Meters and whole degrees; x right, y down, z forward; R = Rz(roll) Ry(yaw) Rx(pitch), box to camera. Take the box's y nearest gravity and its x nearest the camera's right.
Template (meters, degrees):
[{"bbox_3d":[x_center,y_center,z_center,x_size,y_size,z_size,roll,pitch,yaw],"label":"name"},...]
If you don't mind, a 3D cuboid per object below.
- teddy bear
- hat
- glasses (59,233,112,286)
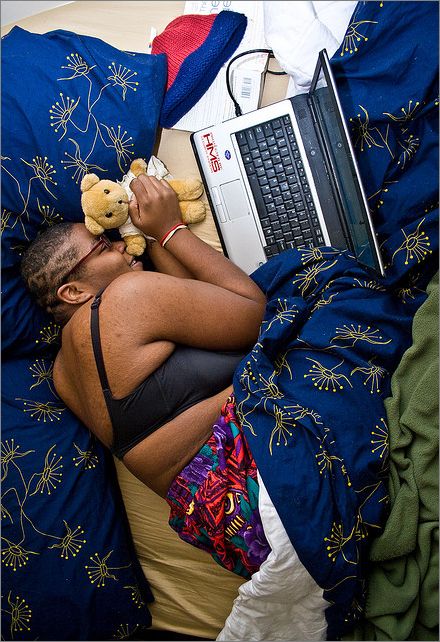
[{"bbox_3d":[-0.140,-0.278,1.307,0.361,0.118,0.304,-17,37,-9],"label":"teddy bear"},{"bbox_3d":[-0.010,-0.668,1.481,0.294,0.275,0.089,-50,-16,4],"label":"hat"},{"bbox_3d":[-0.303,-0.138,1.230,0.111,0.031,0.112,-47,-1,-8],"label":"glasses"}]
